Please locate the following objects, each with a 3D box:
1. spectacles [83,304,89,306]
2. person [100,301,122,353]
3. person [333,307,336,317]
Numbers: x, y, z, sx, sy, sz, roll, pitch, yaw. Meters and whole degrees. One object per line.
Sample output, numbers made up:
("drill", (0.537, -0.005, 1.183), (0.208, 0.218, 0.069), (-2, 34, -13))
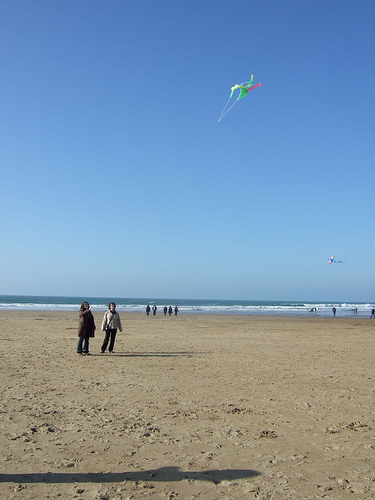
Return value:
("spectacles", (-2.681, 1.460, 11.903), (0.083, 0.100, 0.092), (1, -8, 4))
("person", (-2.262, 2.284, 13.365), (0.571, 1.437, 2.840), (2, -8, -10))
("person", (17.127, 7.283, 52.278), (0.187, 0.798, 1.283), (-2, -8, 26))
